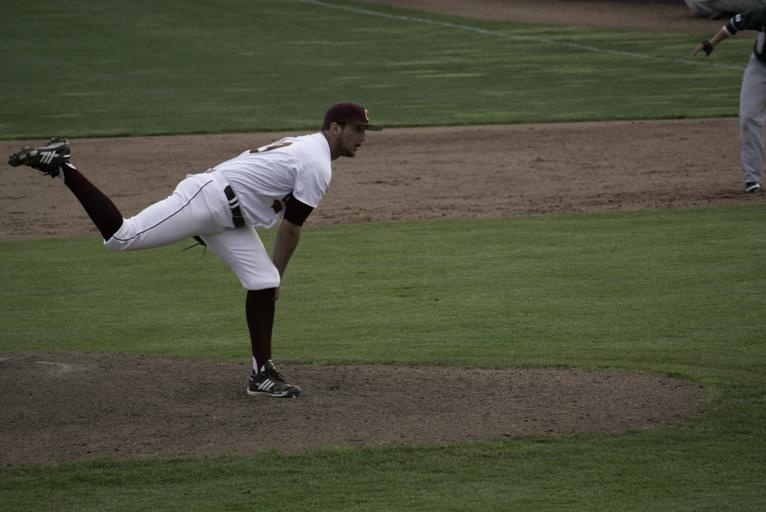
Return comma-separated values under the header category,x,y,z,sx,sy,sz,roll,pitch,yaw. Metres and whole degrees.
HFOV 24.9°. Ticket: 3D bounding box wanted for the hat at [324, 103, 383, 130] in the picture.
category,x,y,z,sx,sy,sz,roll,pitch,yaw
hat,-0.375,-1.641,20.438,0.612,0.218,0.336,-2,6,1
